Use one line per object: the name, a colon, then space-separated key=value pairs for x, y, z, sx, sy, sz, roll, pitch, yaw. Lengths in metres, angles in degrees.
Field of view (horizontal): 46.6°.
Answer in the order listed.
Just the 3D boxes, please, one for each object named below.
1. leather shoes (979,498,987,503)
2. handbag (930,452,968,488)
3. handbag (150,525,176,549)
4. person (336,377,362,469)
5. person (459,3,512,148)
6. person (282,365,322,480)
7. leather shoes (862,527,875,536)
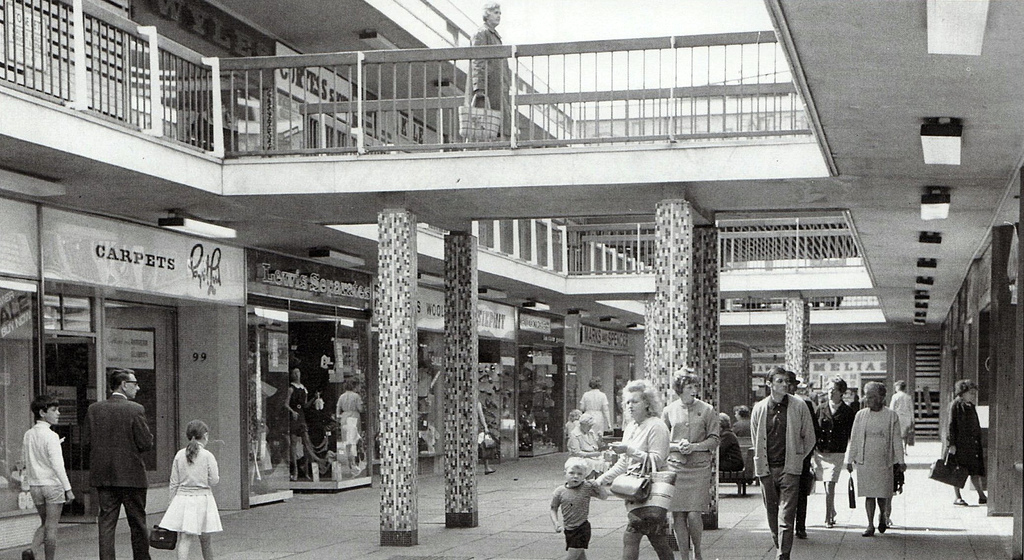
leather shoes: x=9.895 y=4.735 z=25.003 sx=0.159 sy=0.087 sz=0.163 roll=-5 pitch=-7 yaw=44
handbag: x=8.521 y=3.808 z=23.279 sx=0.959 sy=0.575 sz=0.358 roll=4 pitch=-10 yaw=-28
handbag: x=-5.469 y=4.099 z=18.720 sx=0.398 sy=0.314 sz=0.208 roll=2 pitch=-15 yaw=0
person: x=-3.777 y=3.420 z=27.898 sx=0.362 sy=2.135 sz=0.887 roll=-5 pitch=-10 yaw=25
person: x=-0.442 y=-3.787 z=21.508 sx=0.874 sy=2.899 sz=1.270 roll=-2 pitch=-9 yaw=3
person: x=-4.823 y=3.347 z=27.245 sx=0.525 sy=2.581 sz=1.097 roll=-4 pitch=-9 yaw=18
leather shoes: x=6.522 y=4.646 z=21.674 sx=0.129 sy=0.120 sz=0.343 roll=-5 pitch=-7 yaw=33
